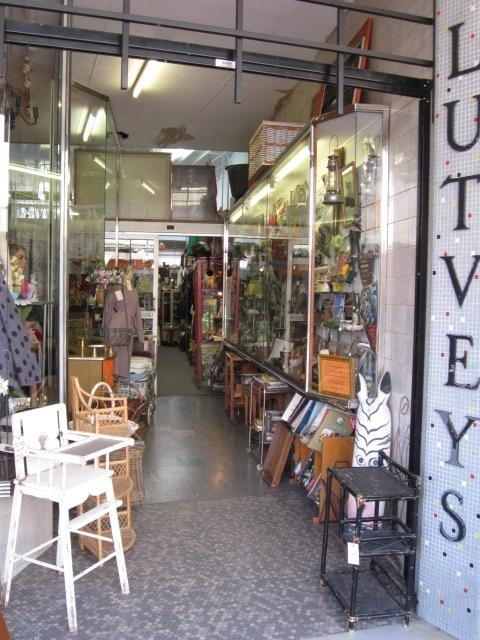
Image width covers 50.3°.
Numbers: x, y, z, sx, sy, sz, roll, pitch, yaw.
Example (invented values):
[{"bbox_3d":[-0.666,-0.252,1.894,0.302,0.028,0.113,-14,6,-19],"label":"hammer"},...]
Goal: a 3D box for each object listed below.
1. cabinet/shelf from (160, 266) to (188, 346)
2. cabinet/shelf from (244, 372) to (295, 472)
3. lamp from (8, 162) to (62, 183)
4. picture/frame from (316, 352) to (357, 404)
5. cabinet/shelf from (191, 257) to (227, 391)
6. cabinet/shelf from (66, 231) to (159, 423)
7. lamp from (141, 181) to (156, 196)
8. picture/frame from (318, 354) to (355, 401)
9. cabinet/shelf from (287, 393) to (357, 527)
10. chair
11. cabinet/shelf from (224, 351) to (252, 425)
[{"bbox_3d":[-1.769,-0.420,13.371,0.712,2.437,4.713,1,1,-9],"label":"cabinet/shelf"},{"bbox_3d":[0.297,1.135,5.314,0.603,0.890,0.431,18,-10,-39],"label":"cabinet/shelf"},{"bbox_3d":[-1.243,-0.891,3.091,0.028,0.066,0.379,9,6,19],"label":"lamp"},{"bbox_3d":[0.640,0.378,3.379,0.020,0.312,0.273,-5,11,-30],"label":"picture/frame"},{"bbox_3d":[-0.555,0.076,8.797,0.455,2.203,0.272,1,1,6],"label":"cabinet/shelf"},{"bbox_3d":[-1.471,0.106,5.956,0.721,2.544,2.476,0,1,-4],"label":"cabinet/shelf"},{"bbox_3d":[-1.675,-2.390,9.336,0.241,0.199,0.061,20,-1,1],"label":"lamp"},{"bbox_3d":[0.640,0.373,3.371,0.019,0.287,0.249,-5,10,-32],"label":"picture/frame"},{"bbox_3d":[0.514,0.927,3.909,0.243,0.703,0.793,2,15,-23],"label":"cabinet/shelf"},{"bbox_3d":[-0.862,0.917,2.592,0.608,0.926,1.011,1,1,-16],"label":"chair"},{"bbox_3d":[-0.021,0.894,6.630,0.284,0.884,0.828,1,1,-3],"label":"cabinet/shelf"}]
